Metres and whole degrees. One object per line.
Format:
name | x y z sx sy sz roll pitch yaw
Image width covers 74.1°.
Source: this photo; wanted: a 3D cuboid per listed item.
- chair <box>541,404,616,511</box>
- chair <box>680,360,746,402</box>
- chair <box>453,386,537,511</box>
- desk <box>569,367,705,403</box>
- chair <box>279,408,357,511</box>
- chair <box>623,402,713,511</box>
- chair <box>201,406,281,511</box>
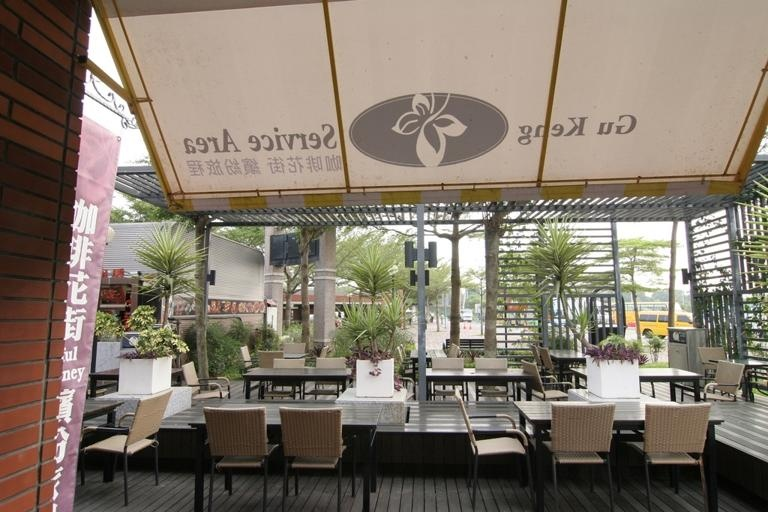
chair | 2.451 2.503 6.381 0.864 1.353 0.914 -3 -11 14
chair | 6.047 2.227 9.257 0.793 1.018 1.069 1 -7 4
chair | 1.558 2.663 7.180 1.283 1.844 1.100 -4 -6 4
desk | 4.248 2.164 8.489 1.358 0.681 0.999 0 -13 -1
chair | -0.857 2.558 6.463 0.912 1.319 1.278 1 -10 -7
chair | 3.622 2.502 6.362 0.907 1.328 0.983 -3 -10 12
chair | -1.847 2.554 6.453 0.819 1.302 1.096 2 -10 -13
